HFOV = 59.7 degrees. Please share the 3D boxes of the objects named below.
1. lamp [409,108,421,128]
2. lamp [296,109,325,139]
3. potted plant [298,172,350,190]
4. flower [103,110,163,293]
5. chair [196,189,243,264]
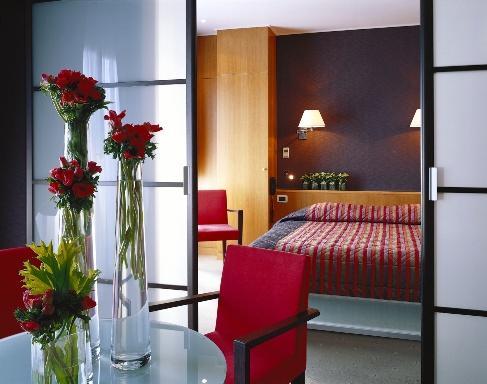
[{"bbox_3d":[2.144,-0.935,5.297,0.117,0.248,0.293,2,4,18],"label":"lamp"},{"bbox_3d":[0.883,-0.884,5.620,0.296,0.387,0.370,-1,1,-7],"label":"lamp"},{"bbox_3d":[1.080,-0.159,5.666,0.644,0.234,0.194,2,4,8],"label":"potted plant"},{"bbox_3d":[-0.416,-0.003,1.601,0.204,0.615,0.209,0,4,-14],"label":"flower"},{"bbox_3d":[-0.337,0.377,5.102,0.594,1.218,0.645,0,0,-10],"label":"chair"}]
